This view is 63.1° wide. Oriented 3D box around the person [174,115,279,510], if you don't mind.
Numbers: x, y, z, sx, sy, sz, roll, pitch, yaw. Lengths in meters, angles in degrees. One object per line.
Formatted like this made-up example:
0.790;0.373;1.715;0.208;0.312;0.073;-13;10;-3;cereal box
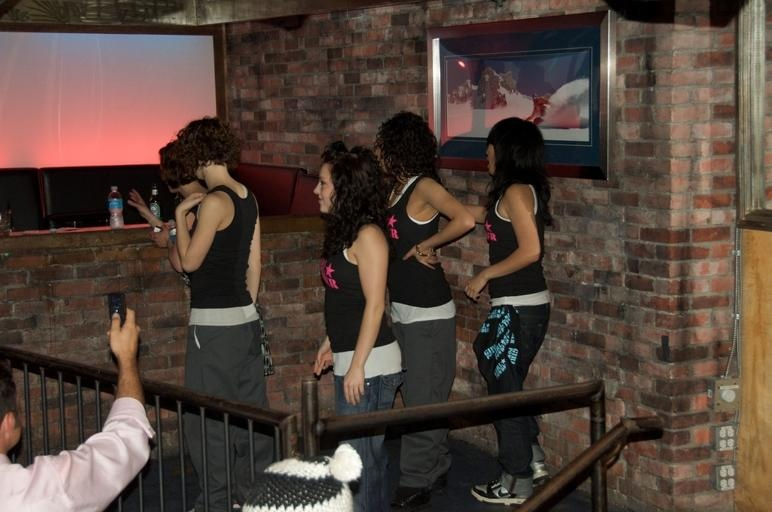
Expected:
-1.012;0.440;3.865;0.572;2.552;0.671;-5;10;-9;person

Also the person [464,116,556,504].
0.887;0.409;4.385;0.554;2.704;0.512;-12;13;-41;person

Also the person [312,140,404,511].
-0.152;0.124;3.615;0.422;1.548;0.392;-5;10;-5;person

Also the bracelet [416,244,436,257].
0.278;-0.043;4.265;0.076;0.041;0.098;6;9;-38;bracelet
